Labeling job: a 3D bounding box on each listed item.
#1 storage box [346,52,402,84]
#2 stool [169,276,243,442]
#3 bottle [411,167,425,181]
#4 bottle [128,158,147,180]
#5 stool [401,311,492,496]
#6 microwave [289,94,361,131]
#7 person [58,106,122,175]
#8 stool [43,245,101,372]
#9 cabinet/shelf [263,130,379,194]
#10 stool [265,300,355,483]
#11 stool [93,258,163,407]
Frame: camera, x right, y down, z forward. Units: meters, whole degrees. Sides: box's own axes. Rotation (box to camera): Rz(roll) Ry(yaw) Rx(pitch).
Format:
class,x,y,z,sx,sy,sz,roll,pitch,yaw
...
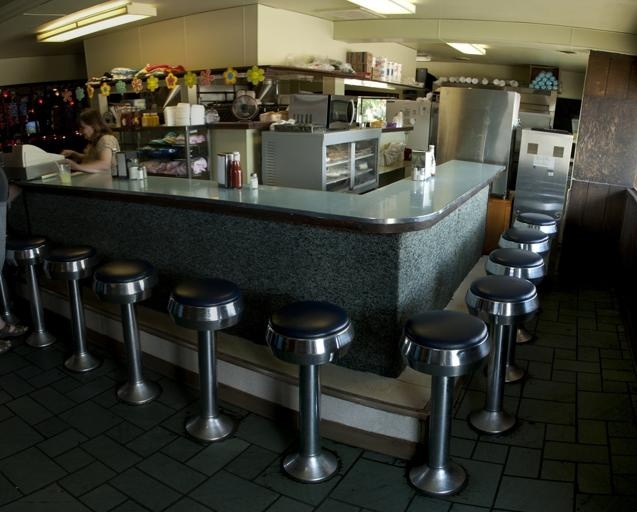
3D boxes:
class,x,y,z,sx,sy,sz,roll,pitch,yaw
storage box,0.916,-3.371,8.813,0.577,0.565,1.369,8,23,26
stool,-0.675,0.623,3.009,0.388,0.917,0.480,12,27,32
bottle,0.787,-0.640,3.877,0.109,0.100,0.108,20,31,36
bottle,-1.511,-0.713,4.070,0.200,0.174,0.138,-7,13,-44
stool,0.658,0.784,2.657,0.423,0.902,0.493,7,25,22
microwave,0.013,-1.633,5.567,0.623,0.333,0.727,7,15,22
person,-2.417,-1.101,5.226,0.562,0.767,0.642,-9,18,-38
stool,-1.797,0.385,3.625,0.353,0.888,0.396,2,23,12
cabinet/shelf,0.084,-1.094,5.656,0.750,0.663,1.303,10,18,28
stool,-0.039,0.745,2.751,0.421,0.900,0.523,6,24,20
stool,-1.254,0.492,3.325,0.372,0.905,0.505,-2,23,3
